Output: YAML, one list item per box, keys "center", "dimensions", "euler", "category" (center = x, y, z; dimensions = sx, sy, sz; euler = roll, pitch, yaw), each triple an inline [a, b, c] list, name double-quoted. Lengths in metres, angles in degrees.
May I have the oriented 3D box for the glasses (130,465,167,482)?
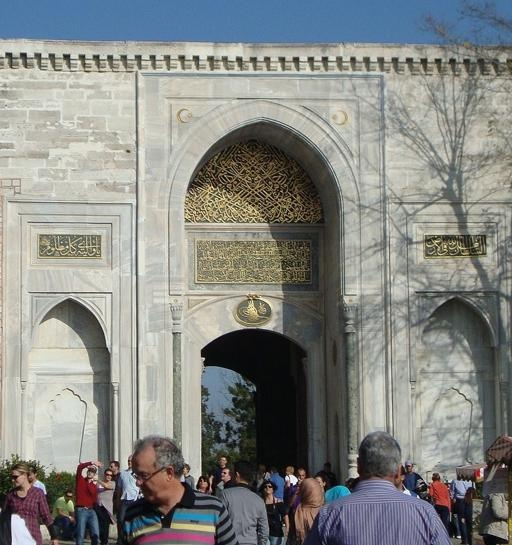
- center: [-0.872, 1.633, 14.079]
  dimensions: [0.164, 0.049, 0.154]
  euler: [-18, -4, -27]
  category: "glasses"

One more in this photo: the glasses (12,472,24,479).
- center: [-2.306, 1.955, 16.711]
  dimensions: [0.084, 0.029, 0.072]
  euler: [10, -17, -41]
  category: "glasses"
